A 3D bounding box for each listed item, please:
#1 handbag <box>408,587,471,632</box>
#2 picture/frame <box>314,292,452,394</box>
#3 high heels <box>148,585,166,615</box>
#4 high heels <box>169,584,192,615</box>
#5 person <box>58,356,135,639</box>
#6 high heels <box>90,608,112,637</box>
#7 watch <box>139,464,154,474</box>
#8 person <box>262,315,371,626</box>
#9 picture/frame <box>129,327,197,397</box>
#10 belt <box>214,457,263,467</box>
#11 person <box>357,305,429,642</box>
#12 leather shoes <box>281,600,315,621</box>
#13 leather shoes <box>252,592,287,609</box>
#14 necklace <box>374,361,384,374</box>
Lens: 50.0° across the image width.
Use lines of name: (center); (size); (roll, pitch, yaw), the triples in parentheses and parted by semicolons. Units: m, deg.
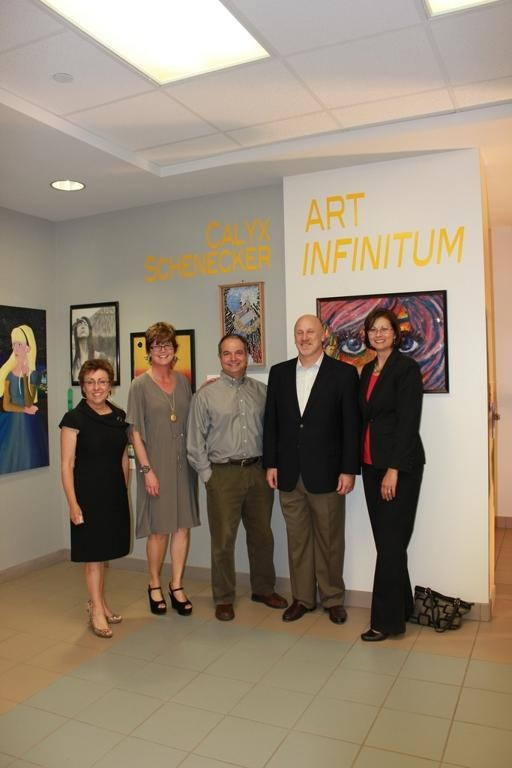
handbag: (0.970, 1.216, 2.953); (0.298, 0.202, 0.164); (8, -40, 30)
picture/frame: (0.730, -0.219, 3.025); (0.594, 0.449, 0.021); (2, 5, 34)
high heels: (-0.576, 1.295, 3.269); (0.069, 0.081, 0.204); (1, -1, -23)
high heels: (-0.466, 1.293, 3.276); (0.075, 0.099, 0.227); (1, -2, -28)
person: (-0.848, 0.410, 2.942); (0.383, 1.069, 0.227); (0, -4, -27)
high heels: (-0.846, 1.319, 3.053); (0.077, 0.099, 0.248); (4, -5, -32)
watch: (-0.619, 0.484, 3.136); (0.057, 0.030, 0.071); (2, -1, -15)
person: (0.340, 0.480, 3.036); (0.395, 1.685, 0.521); (0, -4, -33)
picture/frame: (-0.565, -0.141, 3.507); (0.497, 0.511, 0.037); (0, -2, 18)
belt: (-0.101, 0.450, 3.155); (0.241, 0.047, 0.069); (-1, -3, -15)
person: (0.682, 0.458, 2.814); (0.272, 1.679, 0.376); (0, -4, -30)
leather shoes: (0.248, 1.286, 3.144); (0.074, 0.092, 0.221); (-6, -10, 38)
leather shoes: (0.092, 1.311, 3.358); (0.217, 0.087, 0.074); (-2, -3, 36)
necklace: (0.641, -0.085, 2.853); (0.044, 0.060, 0.025); (8, -2, 43)
